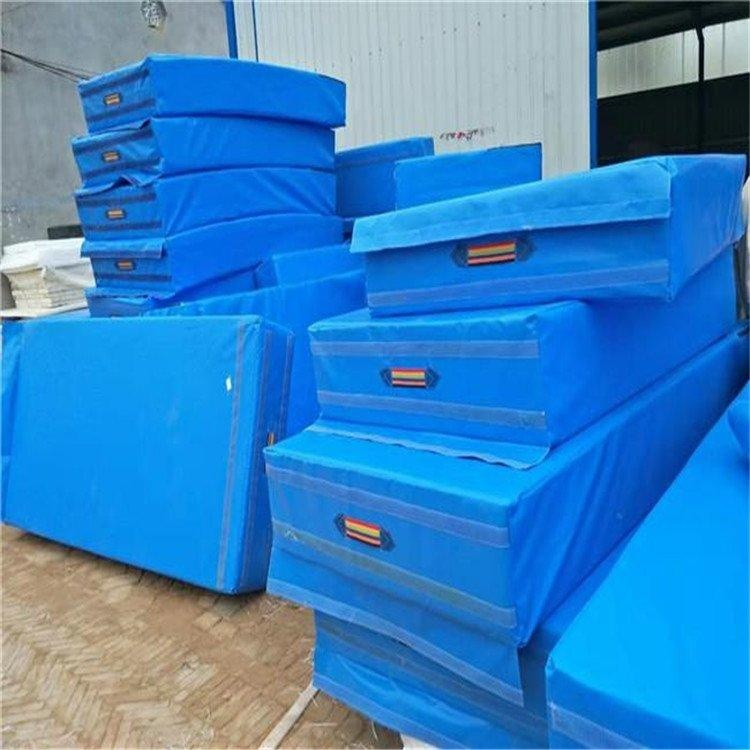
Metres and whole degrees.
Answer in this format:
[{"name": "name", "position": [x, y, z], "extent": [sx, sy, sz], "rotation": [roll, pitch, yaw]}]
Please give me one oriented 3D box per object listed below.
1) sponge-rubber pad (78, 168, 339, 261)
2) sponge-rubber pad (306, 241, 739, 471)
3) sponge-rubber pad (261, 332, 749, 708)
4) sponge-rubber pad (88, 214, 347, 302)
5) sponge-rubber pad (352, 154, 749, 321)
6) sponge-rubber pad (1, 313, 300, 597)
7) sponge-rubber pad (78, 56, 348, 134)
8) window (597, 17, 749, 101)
[{"name": "sponge-rubber pad", "position": [-0.496, -0.583, 2.486], "extent": [0.411, 0.152, 0.470], "rotation": [-3, 18, 32]}, {"name": "sponge-rubber pad", "position": [0.378, -0.183, 1.575], "extent": [0.702, 0.245, 0.424], "rotation": [-22, 14, -37]}, {"name": "sponge-rubber pad", "position": [0.329, 0.113, 1.529], "extent": [0.429, 0.291, 0.760], "rotation": [1, 20, 41]}, {"name": "sponge-rubber pad", "position": [-0.485, -0.422, 2.563], "extent": [0.373, 0.174, 0.552], "rotation": [-3, 23, 40]}, {"name": "sponge-rubber pad", "position": [0.389, -0.270, 1.530], "extent": [0.869, 0.329, 0.458], "rotation": [-5, 17, -3]}, {"name": "sponge-rubber pad", "position": [-0.674, 0.159, 2.190], "extent": [0.967, 0.709, 0.316], "rotation": [8, 18, 31]}, {"name": "sponge-rubber pad", "position": [-0.487, -0.916, 2.503], "extent": [0.888, 0.229, 0.393], "rotation": [-13, 20, -25]}, {"name": "window", "position": [1.954, -2.057, 4.938], "extent": [0.676, 0.333, 0.009], "rotation": [0, 6, 36]}]
